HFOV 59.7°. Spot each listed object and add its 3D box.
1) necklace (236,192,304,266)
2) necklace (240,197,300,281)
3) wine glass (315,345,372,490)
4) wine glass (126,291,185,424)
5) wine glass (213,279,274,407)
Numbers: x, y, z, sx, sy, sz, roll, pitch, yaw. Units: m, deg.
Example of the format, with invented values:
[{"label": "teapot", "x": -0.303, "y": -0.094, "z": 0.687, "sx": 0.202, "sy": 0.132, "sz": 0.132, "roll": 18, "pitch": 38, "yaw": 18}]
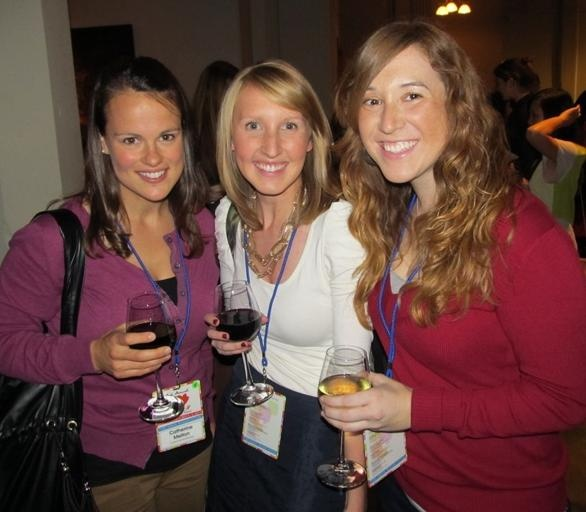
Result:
[{"label": "necklace", "x": -0.111, "y": -0.092, "z": 2.175, "sx": 0.065, "sy": 0.363, "sz": 0.225, "roll": 20, "pitch": -17, "yaw": -39}, {"label": "necklace", "x": -0.100, "y": -0.035, "z": 2.205, "sx": 0.065, "sy": 0.362, "sz": 0.232, "roll": 17, "pitch": -16, "yaw": -40}, {"label": "wine glass", "x": 0.169, "y": 0.583, "z": 1.803, "sx": 0.194, "sy": 0.582, "sz": 0.281, "roll": -5, "pitch": 12, "yaw": -5}, {"label": "wine glass", "x": -0.543, "y": 0.420, "z": 2.004, "sx": 0.179, "sy": 0.556, "sz": 0.275, "roll": -8, "pitch": 12, "yaw": -18}, {"label": "wine glass", "x": -0.217, "y": 0.364, "z": 2.107, "sx": 0.187, "sy": 0.537, "sz": 0.264, "roll": -9, "pitch": 13, "yaw": -24}]
